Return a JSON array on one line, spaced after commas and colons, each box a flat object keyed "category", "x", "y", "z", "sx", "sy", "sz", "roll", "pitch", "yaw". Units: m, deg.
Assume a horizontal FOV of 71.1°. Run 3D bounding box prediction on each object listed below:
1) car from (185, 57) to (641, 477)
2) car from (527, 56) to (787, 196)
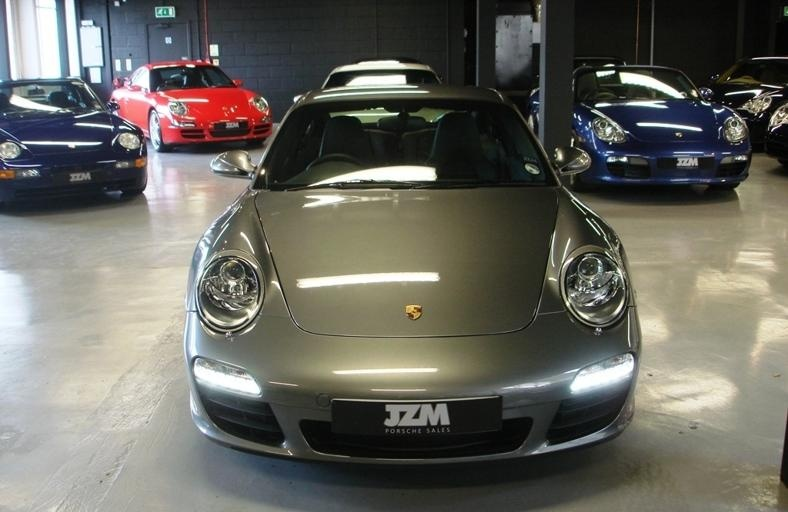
[{"category": "car", "x": 0.027, "y": -0.046, "z": 2.511, "sx": 1.157, "sy": 0.818, "sz": 2.554, "roll": 0, "pitch": 27, "yaw": 1}, {"category": "car", "x": 2.833, "y": -1.451, "z": 6.104, "sx": 1.357, "sy": 0.951, "sz": 2.837, "roll": -1, "pitch": 14, "yaw": 3}]
